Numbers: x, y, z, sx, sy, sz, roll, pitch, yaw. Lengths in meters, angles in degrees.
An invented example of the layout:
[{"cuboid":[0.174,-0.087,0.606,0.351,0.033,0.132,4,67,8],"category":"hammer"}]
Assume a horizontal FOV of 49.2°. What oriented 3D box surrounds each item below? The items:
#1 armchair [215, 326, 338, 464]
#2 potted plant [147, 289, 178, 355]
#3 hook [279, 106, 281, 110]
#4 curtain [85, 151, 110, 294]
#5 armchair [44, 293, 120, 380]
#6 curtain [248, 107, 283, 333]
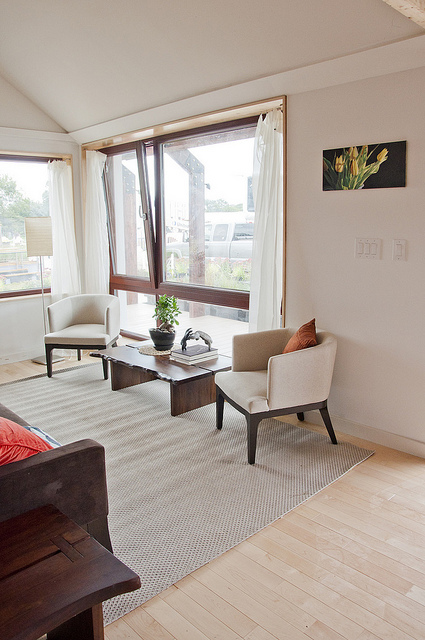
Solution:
[{"cuboid":[0.356,0.403,2.804,0.651,0.681,0.585,-5,11,-33],"category":"armchair"},{"cuboid":[-0.370,0.007,3.668,0.277,0.469,0.222,10,-3,-26],"category":"potted plant"},{"cuboid":[0.460,-1.424,3.151,0.010,0.024,0.014,2,8,13],"category":"hook"},{"cuboid":[-1.302,-1.052,5.165,0.283,1.535,0.208,-2,8,-17],"category":"curtain"},{"cuboid":[-1.167,0.136,4.294,0.577,0.708,0.628,1,6,13],"category":"armchair"},{"cuboid":[0.395,-0.667,3.291,0.311,1.549,0.079,7,10,41],"category":"curtain"}]
